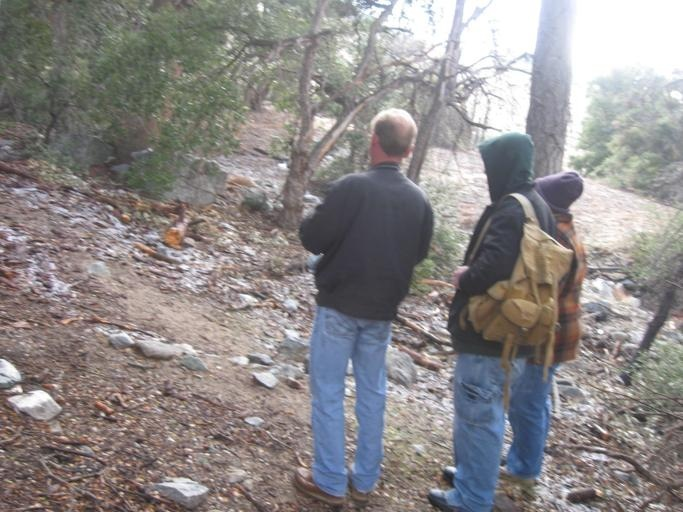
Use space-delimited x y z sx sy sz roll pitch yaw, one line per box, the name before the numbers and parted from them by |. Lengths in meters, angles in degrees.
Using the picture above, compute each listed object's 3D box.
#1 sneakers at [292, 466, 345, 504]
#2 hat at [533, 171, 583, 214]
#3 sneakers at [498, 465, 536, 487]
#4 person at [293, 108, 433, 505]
sneakers | -0.230 1.980 5.621 0.501 0.179 0.197 26 17 21
hat | 2.118 -0.647 6.333 0.332 0.325 0.484 -20 10 11
sneakers | 1.688 2.157 6.424 0.440 0.156 0.137 5 8 11
person | 0.186 0.412 5.563 0.984 3.349 0.749 17 12 26
